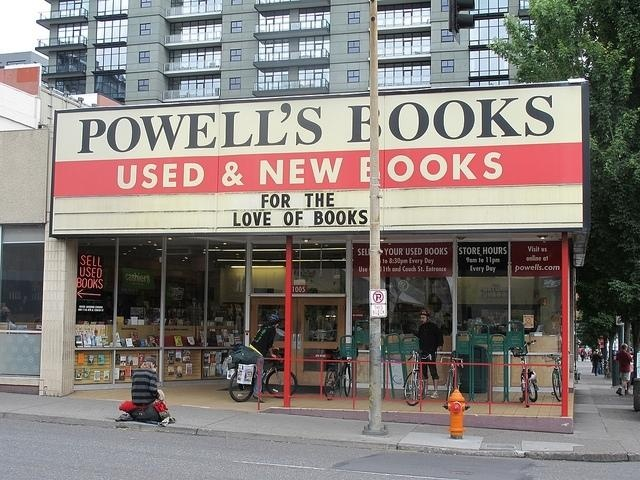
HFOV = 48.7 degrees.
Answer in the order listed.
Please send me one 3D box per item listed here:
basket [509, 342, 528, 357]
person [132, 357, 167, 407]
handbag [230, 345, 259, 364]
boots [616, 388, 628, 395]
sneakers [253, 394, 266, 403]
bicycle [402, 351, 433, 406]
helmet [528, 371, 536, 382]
[{"bbox_3d":[5.917,3.323,21.075,0.467,0.264,0.613,-2,-10,1],"label":"basket"},{"bbox_3d":[-4.160,3.451,17.074,0.706,1.131,0.562,1,-8,-13],"label":"person"},{"bbox_3d":[-2.215,3.394,20.718,0.966,0.550,0.356,-2,-8,10],"label":"handbag"},{"bbox_3d":[13.374,6.795,31.471,0.266,0.356,0.801,-1,-1,39],"label":"boots"},{"bbox_3d":[-1.863,4.723,20.909,0.203,0.275,0.670,6,-15,-26],"label":"sneakers"},{"bbox_3d":[2.673,3.922,19.959,0.689,1.492,2.289,-2,-9,8],"label":"bicycle"},{"bbox_3d":[6.066,3.932,20.355,0.133,0.263,0.618,-4,-9,21],"label":"helmet"}]
